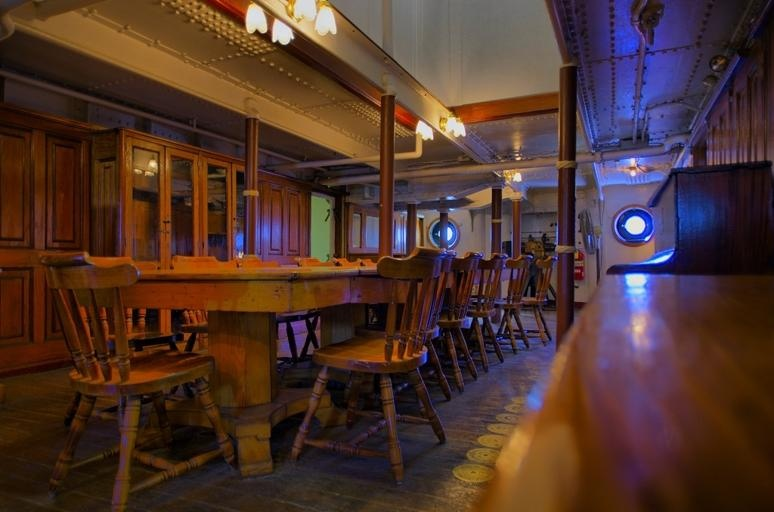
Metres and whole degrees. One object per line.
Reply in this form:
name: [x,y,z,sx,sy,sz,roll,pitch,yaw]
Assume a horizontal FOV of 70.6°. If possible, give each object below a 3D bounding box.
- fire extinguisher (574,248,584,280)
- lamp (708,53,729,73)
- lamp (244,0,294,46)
fire extinguisher: [4.194,0.187,11.950,0.187,0.711,0.488,-2,1,23]
lamp: [3.358,-1.950,5.559,0.163,0.130,0.299,-2,0,27]
lamp: [-1.044,-2.095,4.903,0.354,0.238,0.141,18,-23,-41]
